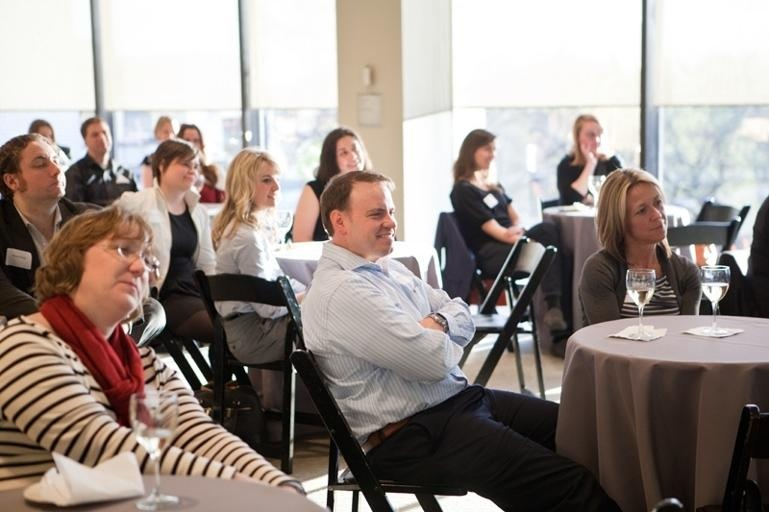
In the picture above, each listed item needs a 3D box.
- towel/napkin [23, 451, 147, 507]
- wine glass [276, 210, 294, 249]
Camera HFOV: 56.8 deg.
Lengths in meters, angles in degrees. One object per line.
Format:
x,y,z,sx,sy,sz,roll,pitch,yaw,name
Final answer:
-0.860,0.648,2.054,0.231,0.087,0.173,2,-4,-22,towel/napkin
-0.740,-0.186,5.202,0.155,0.269,0.155,3,10,26,wine glass
